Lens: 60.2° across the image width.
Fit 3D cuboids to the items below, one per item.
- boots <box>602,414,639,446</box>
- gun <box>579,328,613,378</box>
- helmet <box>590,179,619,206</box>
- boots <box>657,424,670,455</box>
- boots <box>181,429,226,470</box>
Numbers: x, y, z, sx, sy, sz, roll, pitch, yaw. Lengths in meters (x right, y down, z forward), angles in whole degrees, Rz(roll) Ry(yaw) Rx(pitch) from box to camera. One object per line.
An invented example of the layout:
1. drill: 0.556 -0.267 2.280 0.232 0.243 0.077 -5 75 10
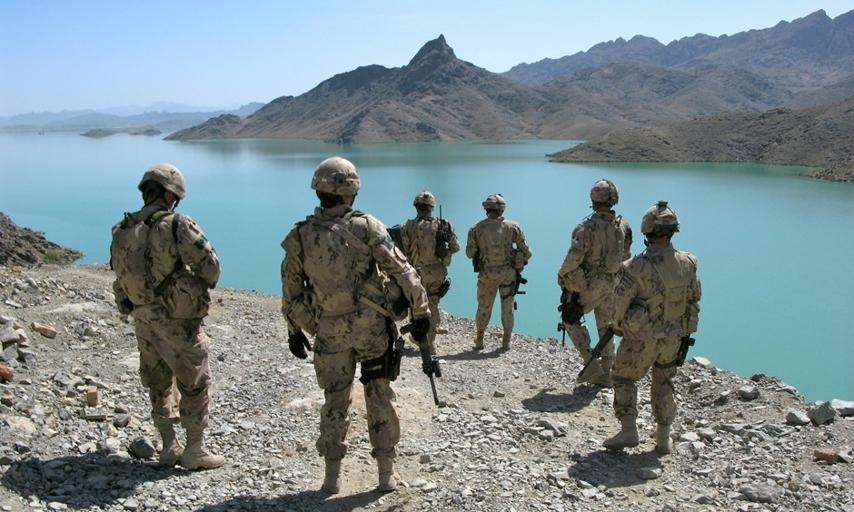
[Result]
1. boots: 3.557 3.297 13.763 0.787 0.614 0.311 -4 -3 -13
2. gun: 3.594 2.173 15.875 0.278 1.609 0.589 26 46 12
3. helmet: 3.750 -1.346 15.744 0.520 0.539 0.428 2 12 8
4. boots: 4.368 3.419 13.796 0.267 0.534 0.571 -1 22 13
5. boots: -3.869 3.390 12.961 0.801 0.726 0.312 8 -12 -41
